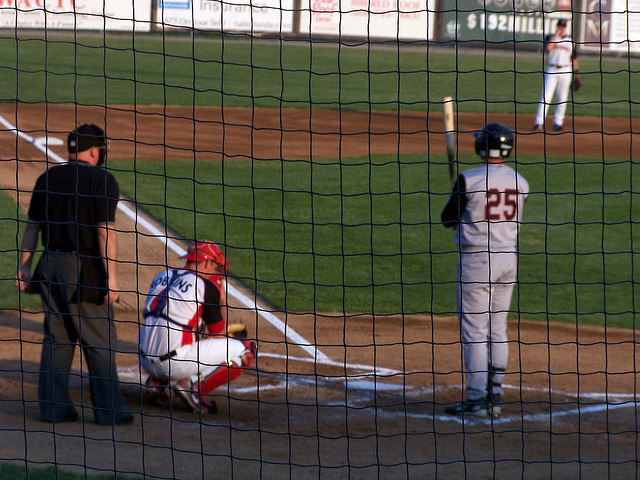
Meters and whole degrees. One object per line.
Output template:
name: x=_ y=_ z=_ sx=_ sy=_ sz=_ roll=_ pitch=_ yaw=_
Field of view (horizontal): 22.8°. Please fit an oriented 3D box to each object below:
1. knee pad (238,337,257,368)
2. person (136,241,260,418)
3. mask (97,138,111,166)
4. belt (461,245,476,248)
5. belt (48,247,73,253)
knee pad: x=-1.171 y=1.811 z=25.305 sx=0.337 sy=0.386 sz=0.178 roll=-27 pitch=-23 yaw=-17
person: x=-2.043 y=1.410 z=25.071 sx=1.675 sy=2.736 sz=0.603 roll=1 pitch=7 yaw=-7
mask: x=-3.485 y=-1.412 z=25.003 sx=0.212 sy=0.477 sz=0.375 roll=4 pitch=-4 yaw=3
belt: x=2.328 y=0.112 z=25.115 sx=0.161 sy=0.050 sz=0.021 roll=4 pitch=7 yaw=28
belt: x=-4.075 y=0.168 z=24.728 sx=0.371 sy=0.075 sz=0.057 roll=1 pitch=6 yaw=-6
